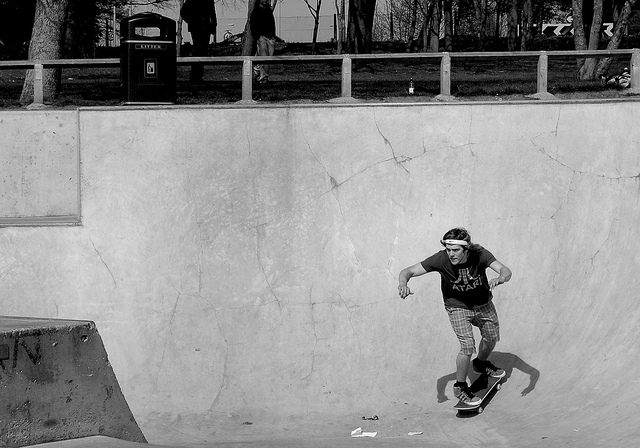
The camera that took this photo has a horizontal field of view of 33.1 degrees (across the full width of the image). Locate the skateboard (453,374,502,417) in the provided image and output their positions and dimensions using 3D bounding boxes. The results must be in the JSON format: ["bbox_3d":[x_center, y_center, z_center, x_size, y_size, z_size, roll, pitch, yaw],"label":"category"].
[{"bbox_3d":[2.197,2.304,14.804,0.305,0.189,1.039,8,21,20],"label":"skateboard"}]

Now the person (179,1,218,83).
[{"bbox_3d":[-2.361,-3.583,21.089,0.684,1.600,1.506,0,8,-8],"label":"person"}]

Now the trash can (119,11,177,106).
[{"bbox_3d":[-2.809,-2.708,17.729,0.886,1.475,0.477,-1,8,-15],"label":"trash can"}]
